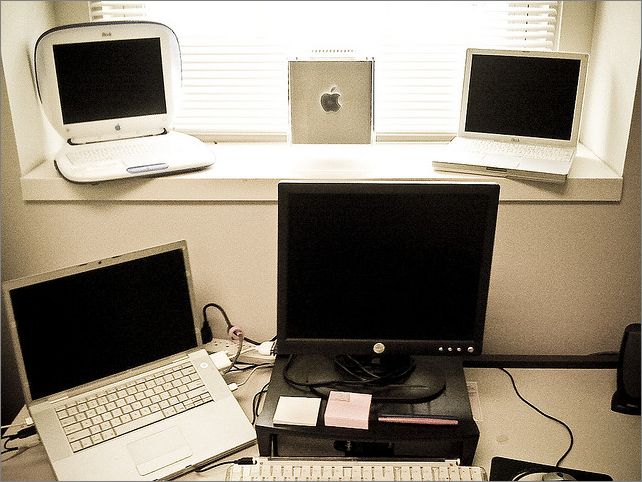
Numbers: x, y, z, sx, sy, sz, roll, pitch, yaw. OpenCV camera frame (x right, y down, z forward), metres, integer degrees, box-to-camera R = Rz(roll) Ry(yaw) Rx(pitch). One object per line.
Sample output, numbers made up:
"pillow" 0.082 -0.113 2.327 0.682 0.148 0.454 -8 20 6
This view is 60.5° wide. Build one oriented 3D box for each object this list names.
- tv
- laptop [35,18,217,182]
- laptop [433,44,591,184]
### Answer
"tv" 0.155 0.077 1.340 0.536 0.436 0.082 -1 21 0
"laptop" -0.568 -0.411 1.608 0.447 0.434 0.232 -11 23 -25
"laptop" 0.601 -0.406 1.671 0.438 0.442 0.211 14 30 24
